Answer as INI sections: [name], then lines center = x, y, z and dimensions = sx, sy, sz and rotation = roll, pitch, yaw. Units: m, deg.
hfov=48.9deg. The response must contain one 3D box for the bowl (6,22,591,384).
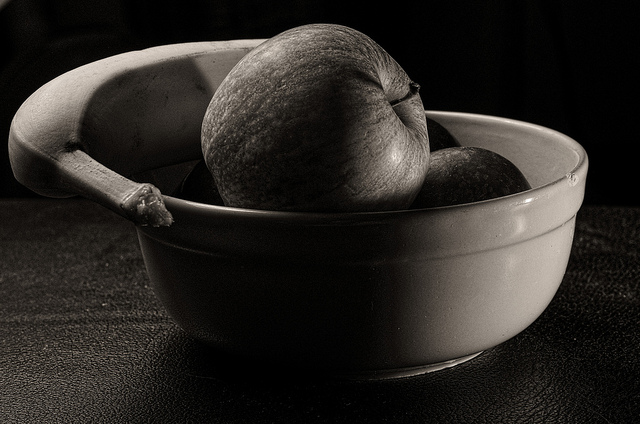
[bowl]
center = -0.010, -0.010, 0.799
dimensions = 0.554, 0.296, 0.454
rotation = -1, 7, -10
